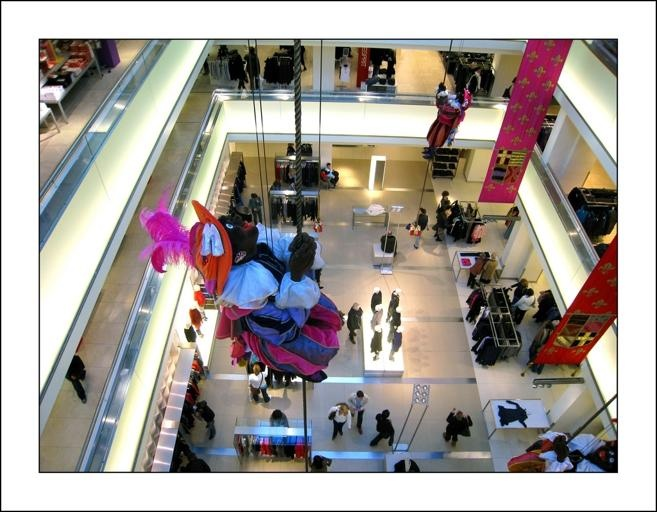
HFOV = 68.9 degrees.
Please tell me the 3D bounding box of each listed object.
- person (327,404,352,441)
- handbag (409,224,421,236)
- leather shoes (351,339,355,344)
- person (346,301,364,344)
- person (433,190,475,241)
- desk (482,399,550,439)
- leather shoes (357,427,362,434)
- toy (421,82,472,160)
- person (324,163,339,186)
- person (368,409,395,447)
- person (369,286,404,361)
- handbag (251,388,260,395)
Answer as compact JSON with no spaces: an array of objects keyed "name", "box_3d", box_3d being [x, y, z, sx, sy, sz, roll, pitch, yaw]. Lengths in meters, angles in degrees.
[{"name":"person","box_3d":[0.271,3.535,10.487,0.461,1.102,0.415,0,32,4]},{"name":"handbag","box_3d":[2.515,-0.789,13.894,0.286,0.160,0.414,-2,66,25]},{"name":"leather shoes","box_3d":[0.651,2.199,12.425,0.042,0.082,0.122,-4,76,-16]},{"name":"person","box_3d":[0.689,1.661,12.334,0.327,1.076,0.528,11,35,20]},{"name":"person","box_3d":[3.975,-1.222,15.186,1.068,1.501,1.072,10,46,-6]},{"name":"desk","box_3d":[4.126,3.473,10.628,1.475,0.743,0.841,2,62,-3]},{"name":"leather shoes","box_3d":[0.725,3.898,10.770,0.055,0.056,0.136,-4,55,-4]},{"name":"toy","box_3d":[2.435,-2.732,9.925,0.721,1.526,0.847,-7,32,-7]},{"name":"person","box_3d":[0.130,-2.852,17.006,0.453,0.854,0.701,1,33,5]},{"name":"person","box_3d":[1.197,3.587,10.405,0.515,1.193,0.577,4,33,11]},{"name":"person","box_3d":[1.477,1.701,11.995,0.793,1.444,1.292,2,33,6]},{"name":"handbag","box_3d":[-1.658,3.061,10.921,0.124,0.210,0.223,13,57,1]}]
